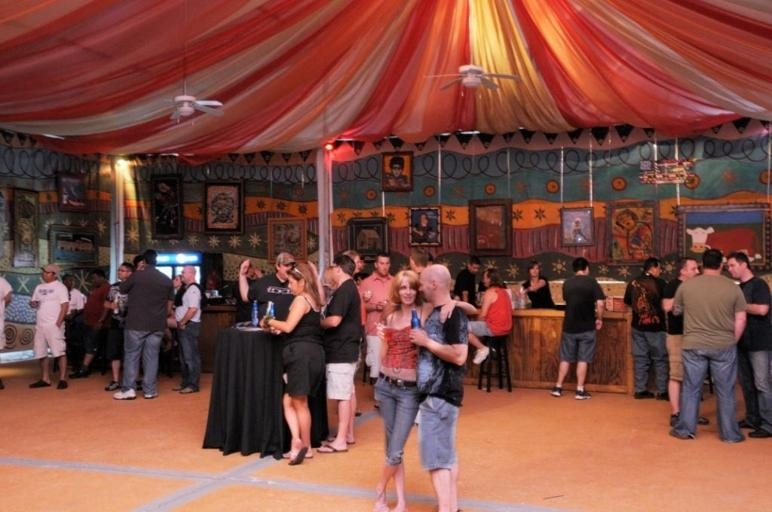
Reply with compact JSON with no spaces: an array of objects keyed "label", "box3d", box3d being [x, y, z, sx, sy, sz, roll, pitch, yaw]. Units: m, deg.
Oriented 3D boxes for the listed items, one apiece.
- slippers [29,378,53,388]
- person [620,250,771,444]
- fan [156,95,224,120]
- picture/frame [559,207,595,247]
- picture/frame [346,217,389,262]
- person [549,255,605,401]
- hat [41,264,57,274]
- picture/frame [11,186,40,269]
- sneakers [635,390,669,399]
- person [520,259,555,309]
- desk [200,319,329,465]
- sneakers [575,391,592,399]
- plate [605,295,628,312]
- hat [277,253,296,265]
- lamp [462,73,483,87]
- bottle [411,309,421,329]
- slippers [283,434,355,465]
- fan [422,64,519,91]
[{"label":"slippers","box3d":[-5.774,2.142,11.407,0.294,0.108,0.151,9,-12,-36]},{"label":"person","box3d":[4.081,1.145,8.662,0.877,2.428,0.315,-1,-1,19]},{"label":"fan","box3d":[-2.650,-2.134,9.799,0.696,0.143,0.689,-1,0,35]},{"label":"picture/frame","box3d":[3.677,-0.539,13.039,0.893,0.885,0.070,0,-3,12]},{"label":"picture/frame","box3d":[-0.434,-0.320,13.895,1.168,1.000,0.784,0,0,8]},{"label":"person","box3d":[2.996,1.129,10.689,0.795,2.171,0.340,-1,-1,8]},{"label":"hat","box3d":[-5.908,0.229,11.989,0.159,0.107,0.206,12,-6,38]},{"label":"picture/frame","box3d":[-7.134,-0.539,13.516,0.088,1.551,0.521,-1,-1,35]},{"label":"sneakers","box3d":[4.127,2.140,10.618,0.516,0.175,0.163,-2,-5,17]},{"label":"person","box3d":[2.828,0.688,12.907,0.587,1.050,0.661,-12,-5,22]},{"label":"desk","box3d":[-1.440,1.679,8.867,1.805,1.456,1.520,2,-4,-8]},{"label":"sneakers","box3d":[3.066,2.152,10.628,0.279,0.160,0.119,-1,0,-30]},{"label":"plate","box3d":[3.877,0.818,11.602,0.337,0.182,0.310,0,0,5]},{"label":"hat","box3d":[-1.265,0.038,8.658,0.160,0.100,0.224,1,-5,-43]},{"label":"lamp","box3d":[1.228,-2.477,9.705,0.289,0.137,0.229,0,-1,0]},{"label":"bottle","box3d":[0.287,0.601,6.551,0.086,0.177,0.251,-1,-1,3]},{"label":"slippers","box3d":[-0.804,2.324,8.219,0.801,0.269,0.257,3,-8,-23]},{"label":"fan","box3d":[1.167,-2.559,9.899,0.944,0.241,0.889,-3,7,-29]}]
